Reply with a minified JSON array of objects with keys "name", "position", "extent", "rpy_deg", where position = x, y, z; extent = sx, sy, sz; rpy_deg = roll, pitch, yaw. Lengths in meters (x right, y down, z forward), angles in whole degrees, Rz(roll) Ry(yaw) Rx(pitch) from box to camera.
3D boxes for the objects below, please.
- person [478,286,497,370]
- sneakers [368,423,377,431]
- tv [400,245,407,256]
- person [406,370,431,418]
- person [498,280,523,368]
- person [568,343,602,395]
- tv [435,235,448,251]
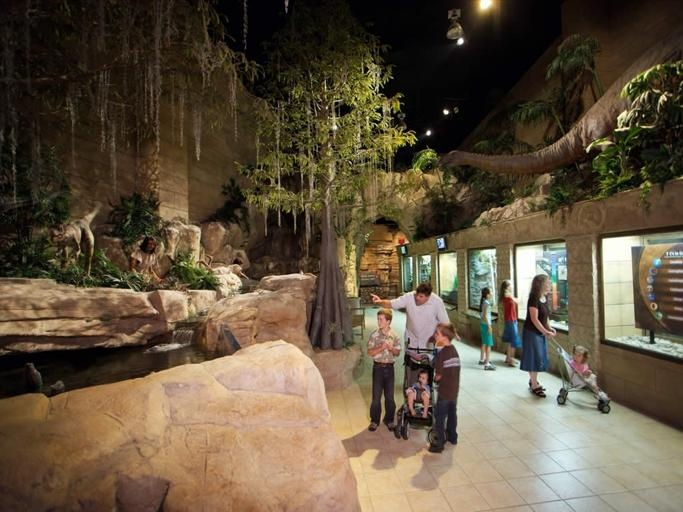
[{"name":"person","position":[3.358,1.615,10.530],"extent":[0.331,1.802,0.575],"rpy_deg":[1,1,12]},{"name":"sneakers","position":[0.543,2.912,7.894],"extent":[0.099,0.078,0.187],"rpy_deg":[1,6,3]},{"name":"tv","position":[2.775,-0.279,20.330],"extent":[0.309,0.574,0.592],"rpy_deg":[-1,-4,-6]},{"name":"person","position":[1.317,2.244,7.711],"extent":[0.403,0.748,0.482],"rpy_deg":[1,1,23]},{"name":"person","position":[3.895,1.511,10.581],"extent":[0.475,1.940,1.023],"rpy_deg":[1,1,21]},{"name":"person","position":[4.486,2.066,8.418],"extent":[0.529,0.819,0.257],"rpy_deg":[1,1,34]},{"name":"tv","position":[3.181,-0.403,14.672],"extent":[0.314,0.585,0.603],"rpy_deg":[1,1,-5]}]
